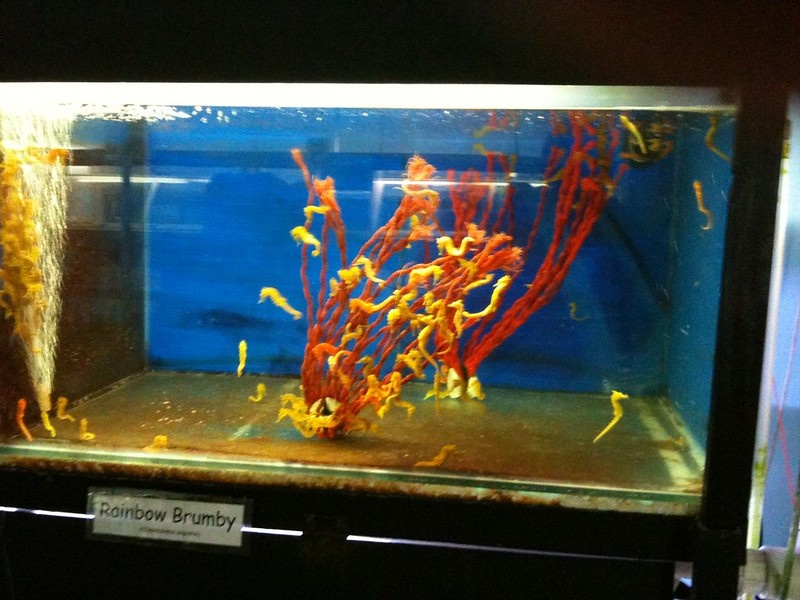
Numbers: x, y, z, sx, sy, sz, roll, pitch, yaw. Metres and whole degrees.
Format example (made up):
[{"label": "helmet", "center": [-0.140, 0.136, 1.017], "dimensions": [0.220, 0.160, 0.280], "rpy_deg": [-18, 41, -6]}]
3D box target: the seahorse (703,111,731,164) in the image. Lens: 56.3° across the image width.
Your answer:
[{"label": "seahorse", "center": [0.776, -0.407, 1.861], "dimensions": [0.033, 0.101, 0.076], "rpy_deg": [5, 7, 10]}]
